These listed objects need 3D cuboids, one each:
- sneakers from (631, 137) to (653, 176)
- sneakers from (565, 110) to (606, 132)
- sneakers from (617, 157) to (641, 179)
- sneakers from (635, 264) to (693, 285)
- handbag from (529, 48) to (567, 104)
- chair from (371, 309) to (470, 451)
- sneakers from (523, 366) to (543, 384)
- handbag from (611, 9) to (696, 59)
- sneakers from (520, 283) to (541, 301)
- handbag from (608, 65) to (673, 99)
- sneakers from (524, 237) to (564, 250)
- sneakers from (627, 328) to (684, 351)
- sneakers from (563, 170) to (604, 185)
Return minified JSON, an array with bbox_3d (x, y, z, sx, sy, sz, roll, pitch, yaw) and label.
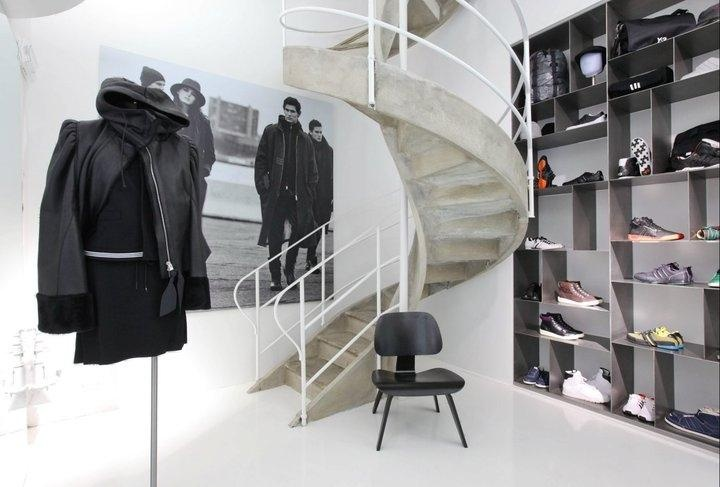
[{"bbox_3d":[2.509,-0.759,4.682,0.134,0.376,0.146,-22,-20,37],"label":"sneakers"},{"bbox_3d":[2.107,-1.106,4.886,0.158,0.159,0.430,-6,3,-34],"label":"sneakers"},{"bbox_3d":[2.379,-0.654,4.654,0.190,0.169,0.154,6,-7,-25],"label":"sneakers"},{"bbox_3d":[2.621,0.276,4.529,0.480,0.216,0.181,3,-2,43],"label":"sneakers"},{"bbox_3d":[1.873,-1.645,5.233,0.318,0.478,0.377,-1,1,-43],"label":"handbag"},{"bbox_3d":[0.448,1.129,4.334,0.793,0.976,0.798,-1,2,-26],"label":"chair"},{"bbox_3d":[1.746,1.334,5.242,0.227,0.099,0.096,-4,-1,-42],"label":"sneakers"},{"bbox_3d":[2.569,-1.842,4.532,0.484,0.209,0.364,-21,6,-10],"label":"handbag"},{"bbox_3d":[1.724,0.501,5.271,0.195,0.163,0.125,0,1,11],"label":"sneakers"},{"bbox_3d":[2.449,-1.400,4.548,0.506,0.210,0.135,-1,1,29],"label":"handbag"},{"bbox_3d":[1.800,0.010,5.130,0.233,0.087,0.154,0,-3,36],"label":"sneakers"},{"bbox_3d":[2.560,0.819,4.550,0.444,0.183,0.179,2,-3,44],"label":"sneakers"},{"bbox_3d":[2.122,-0.590,4.940,0.398,0.136,0.151,-1,3,37],"label":"sneakers"}]
